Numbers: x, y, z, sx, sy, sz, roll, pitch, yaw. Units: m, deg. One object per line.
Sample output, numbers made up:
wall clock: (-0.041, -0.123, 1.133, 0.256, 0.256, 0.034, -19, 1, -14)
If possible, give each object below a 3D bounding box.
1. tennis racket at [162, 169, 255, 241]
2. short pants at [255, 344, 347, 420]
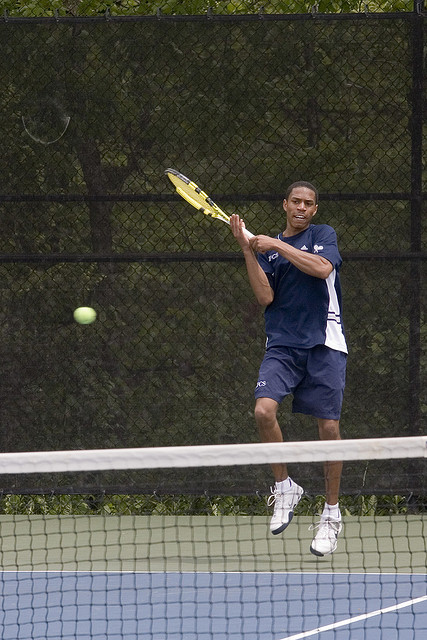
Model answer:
tennis racket: (-0.040, -0.644, 5.561, 0.706, 0.154, 0.048, 34, 47, 11)
short pants: (0.438, 0.298, 4.961, 0.398, 0.332, 0.211, 9, -27, -1)
